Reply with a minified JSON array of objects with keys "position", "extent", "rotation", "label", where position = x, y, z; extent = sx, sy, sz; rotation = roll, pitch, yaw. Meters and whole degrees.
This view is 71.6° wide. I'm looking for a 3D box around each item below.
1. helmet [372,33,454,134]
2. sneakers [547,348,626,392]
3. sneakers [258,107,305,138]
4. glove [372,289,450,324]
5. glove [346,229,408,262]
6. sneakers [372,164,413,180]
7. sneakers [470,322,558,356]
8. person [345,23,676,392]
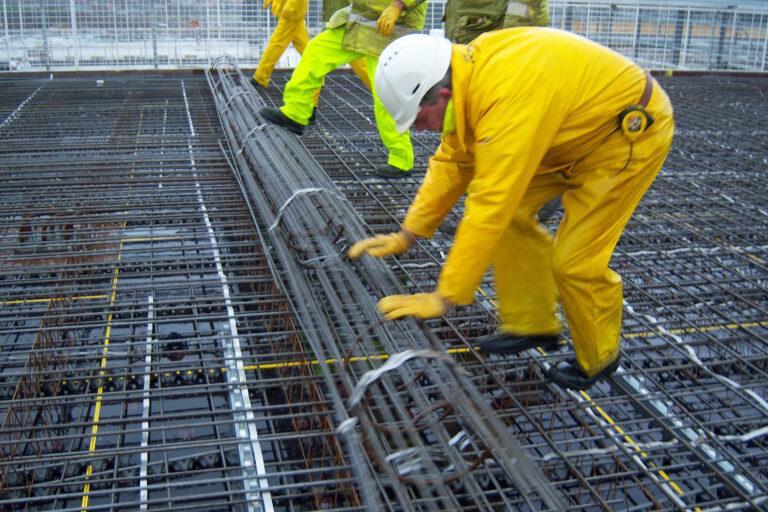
[{"position":[0.145,-0.913,2.824],"extent":[0.394,0.493,0.265],"rotation":[4,25,5],"label":"helmet"},{"position":[1.243,0.725,3.292],"extent":[0.429,0.166,0.211],"rotation":[-16,35,-10],"label":"sneakers"},{"position":[-1.044,-1.372,5.492],"extent":[0.563,0.174,0.218],"rotation":[16,-18,-9],"label":"sneakers"},{"position":[0.146,0.251,2.687],"extent":[0.315,0.070,0.154],"rotation":[-3,30,4],"label":"glove"},{"position":[-0.029,-0.065,3.175],"extent":[0.334,0.076,0.164],"rotation":[-14,16,-4],"label":"glove"},{"position":[0.086,-0.866,5.511],"extent":[0.364,0.140,0.143],"rotation":[3,23,-12],"label":"sneakers"},{"position":[0.789,0.520,3.438],"extent":[0.580,0.205,0.169],"rotation":[-2,35,0],"label":"sneakers"},{"position":[0.771,-0.177,2.983],"extent":[1.615,2.066,0.841],"rotation":[0,25,-5],"label":"person"}]
